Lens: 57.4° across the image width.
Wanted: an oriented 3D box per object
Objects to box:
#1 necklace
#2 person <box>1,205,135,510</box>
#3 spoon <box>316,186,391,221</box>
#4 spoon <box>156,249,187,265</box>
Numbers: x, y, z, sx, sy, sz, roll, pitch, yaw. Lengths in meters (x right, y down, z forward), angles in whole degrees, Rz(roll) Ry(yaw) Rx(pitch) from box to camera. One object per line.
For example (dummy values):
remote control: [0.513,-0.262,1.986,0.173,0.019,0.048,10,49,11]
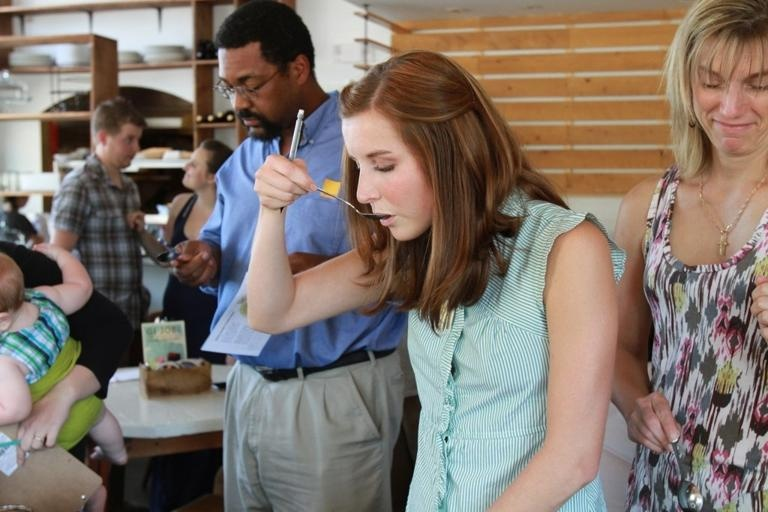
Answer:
necklace: [0.959,-0.115,1.974,0.139,0.238,0.029,5,-15,43]
person: [-1.043,0.403,2.351,0.386,0.908,0.385,-3,6,-21]
spoon: [-0.083,-0.142,1.932,0.221,0.030,0.033,32,-17,-16]
spoon: [-0.779,0.006,2.530,0.059,0.061,0.012,32,-25,35]
